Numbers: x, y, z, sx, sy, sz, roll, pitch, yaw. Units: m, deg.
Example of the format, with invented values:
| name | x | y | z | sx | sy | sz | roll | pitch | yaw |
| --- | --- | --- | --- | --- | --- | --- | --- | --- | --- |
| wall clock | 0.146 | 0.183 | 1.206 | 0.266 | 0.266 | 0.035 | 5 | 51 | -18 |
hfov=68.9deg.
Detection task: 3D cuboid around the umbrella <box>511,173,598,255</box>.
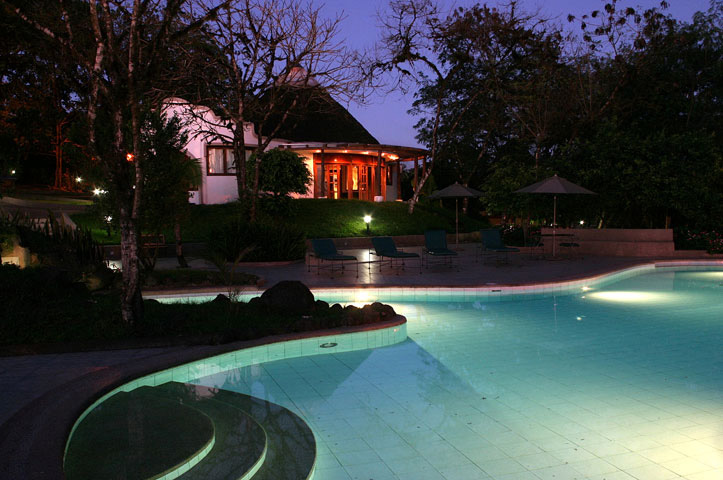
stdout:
| name | x | y | z | sx | sy | sz | roll | pitch | yaw |
| --- | --- | --- | --- | --- | --- | --- | --- | --- | --- |
| umbrella | 7.313 | -0.874 | 19.881 | 3.015 | 2.760 | 2.923 | -1 | 3 | -23 |
